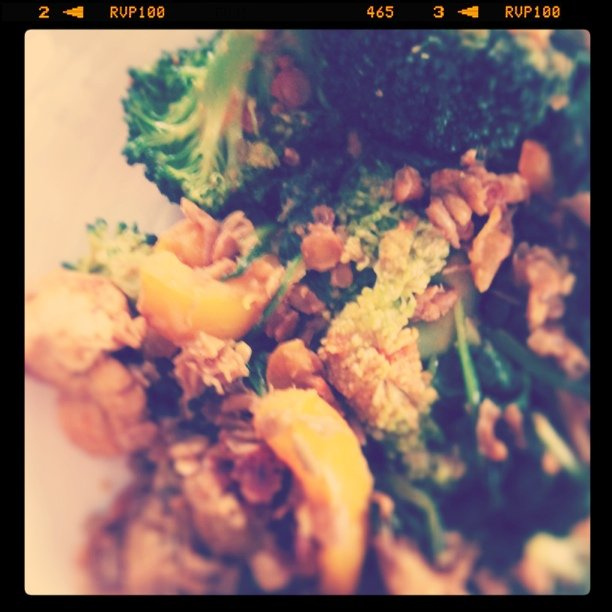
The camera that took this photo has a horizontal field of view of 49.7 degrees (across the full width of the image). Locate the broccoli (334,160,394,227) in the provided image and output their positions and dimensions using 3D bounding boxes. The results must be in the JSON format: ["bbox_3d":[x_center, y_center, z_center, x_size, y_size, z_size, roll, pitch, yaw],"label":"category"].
[{"bbox_3d":[0.121,-0.254,1.483,0.137,0.113,0.064,-43,21,4],"label":"broccoli"}]

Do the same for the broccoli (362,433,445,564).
[{"bbox_3d":[0.209,0.413,1.413,0.138,0.270,0.057,-18,-1,-14],"label":"broccoli"}]

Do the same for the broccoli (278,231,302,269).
[{"bbox_3d":[-0.046,-0.131,1.456,0.019,0.070,0.089,3,38,9],"label":"broccoli"}]

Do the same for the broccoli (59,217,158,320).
[{"bbox_3d":[-0.465,-0.097,1.449,0.066,0.175,0.161,22,11,2],"label":"broccoli"}]

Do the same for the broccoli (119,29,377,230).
[{"bbox_3d":[-0.133,-0.383,1.353,0.378,0.475,0.129,1,-4,-3],"label":"broccoli"}]

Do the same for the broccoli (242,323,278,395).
[{"bbox_3d":[-0.102,0.115,1.428,0.073,0.136,0.048,2,17,-3],"label":"broccoli"}]
